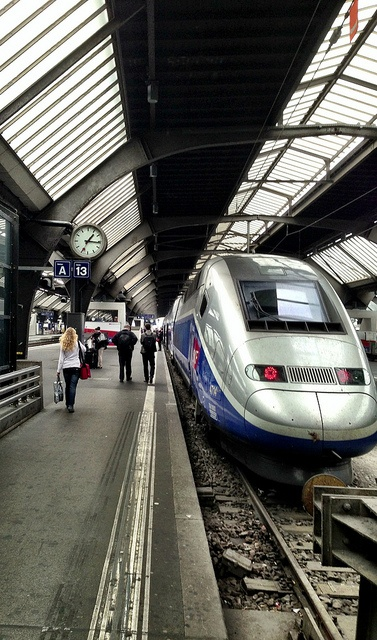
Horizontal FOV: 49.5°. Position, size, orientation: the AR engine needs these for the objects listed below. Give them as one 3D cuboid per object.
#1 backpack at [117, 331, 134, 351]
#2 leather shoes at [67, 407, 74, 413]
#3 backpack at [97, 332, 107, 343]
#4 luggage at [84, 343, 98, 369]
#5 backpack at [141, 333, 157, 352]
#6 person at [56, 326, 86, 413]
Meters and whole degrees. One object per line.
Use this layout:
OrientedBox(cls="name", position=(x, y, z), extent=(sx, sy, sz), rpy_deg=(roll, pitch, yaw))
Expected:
OrientedBox(cls="backpack", position=(-1.650, 0.527, 10.916), extent=(0.347, 0.554, 0.538), rpy_deg=(2, 13, -2))
OrientedBox(cls="leather shoes", position=(-2.071, 1.581, 7.139), extent=(0.075, 0.111, 0.271), rpy_deg=(1, -3, -9))
OrientedBox(cls="backpack", position=(-3.376, 0.699, 15.851), extent=(0.392, 0.657, 0.577), rpy_deg=(-2, -2, -13))
OrientedBox(cls="luggage", position=(-3.474, 1.365, 14.632), extent=(0.625, 0.763, 1.230), rpy_deg=(-2, -18, -16))
OrientedBox(cls="backpack", position=(-1.107, 0.644, 11.049), extent=(0.401, 0.518, 0.381), rpy_deg=(6, -2, -5))
OrientedBox(cls="person", position=(-2.085, 0.877, 7.192), extent=(0.410, 1.469, 0.692), rpy_deg=(6, -2, -17))
